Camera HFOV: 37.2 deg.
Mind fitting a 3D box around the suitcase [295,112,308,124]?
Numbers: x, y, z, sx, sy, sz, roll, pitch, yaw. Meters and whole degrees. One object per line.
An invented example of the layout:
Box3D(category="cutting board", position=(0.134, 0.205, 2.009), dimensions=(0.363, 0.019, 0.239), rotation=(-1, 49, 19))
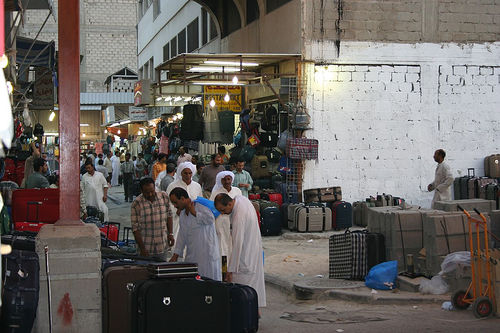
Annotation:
Box3D(category="suitcase", position=(1.604, -1.541, 23.535), dimensions=(0.457, 0.525, 0.286), rotation=(-1, 8, -3))

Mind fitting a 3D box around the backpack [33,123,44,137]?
Box3D(category="backpack", position=(-8.417, -1.442, 29.618), dimensions=(0.348, 0.791, 0.551), rotation=(1, 3, 3))

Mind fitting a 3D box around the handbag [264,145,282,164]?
Box3D(category="handbag", position=(0.801, -0.454, 25.473), dimensions=(0.535, 0.609, 0.414), rotation=(2, -1, 1))

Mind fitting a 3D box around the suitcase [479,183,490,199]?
Box3D(category="suitcase", position=(7.448, 0.765, 23.658), dimensions=(0.312, 0.484, 0.274), rotation=(0, -2, 16))

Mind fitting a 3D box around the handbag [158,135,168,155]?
Box3D(category="handbag", position=(-3.395, -0.862, 29.352), dimensions=(0.256, 0.712, 1.086), rotation=(1, -2, -15))

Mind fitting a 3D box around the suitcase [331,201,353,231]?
Box3D(category="suitcase", position=(2.810, 1.536, 22.785), dimensions=(0.680, 1.198, 0.422), rotation=(-1, 6, -11))

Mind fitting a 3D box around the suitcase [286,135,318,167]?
Box3D(category="suitcase", position=(1.665, -0.588, 23.710), dimensions=(1.011, 0.637, 0.375), rotation=(0, -2, 0))

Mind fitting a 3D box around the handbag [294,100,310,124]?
Box3D(category="handbag", position=(1.709, -1.717, 23.559), dimensions=(0.516, 1.141, 0.568), rotation=(-1, 4, -4))

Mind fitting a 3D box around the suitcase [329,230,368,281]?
Box3D(category="suitcase", position=(2.429, 2.082, 17.664), dimensions=(0.584, 1.110, 0.999), rotation=(-1, -4, -30))

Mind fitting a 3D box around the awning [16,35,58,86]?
Box3D(category="awning", position=(-6.649, -3.370, 23.299), dimensions=(1.165, 1.001, 1.252), rotation=(-1, 7, -13))

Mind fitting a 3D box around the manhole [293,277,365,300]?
Box3D(category="manhole", position=(1.744, 2.790, 16.959), dimensions=(1.497, 0.404, 0.970), rotation=(0, -2, -1))

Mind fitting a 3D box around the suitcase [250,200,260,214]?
Box3D(category="suitcase", position=(0.153, 1.189, 22.577), dimensions=(0.258, 0.290, 0.279), rotation=(3, -3, -23))

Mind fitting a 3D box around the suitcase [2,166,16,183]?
Box3D(category="suitcase", position=(-8.232, 0.228, 25.609), dimensions=(0.354, 0.570, 1.822), rotation=(1, -2, -17))

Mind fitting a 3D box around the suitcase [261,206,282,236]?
Box3D(category="suitcase", position=(0.643, 1.639, 22.355), dimensions=(0.601, 0.872, 0.269), rotation=(0, -2, -4))

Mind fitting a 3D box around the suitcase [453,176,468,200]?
Box3D(category="suitcase", position=(6.932, 0.712, 24.397), dimensions=(0.477, 1.058, 0.560), rotation=(-3, 6, -5))

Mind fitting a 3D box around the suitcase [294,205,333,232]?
Box3D(category="suitcase", position=(1.760, 1.602, 22.825), dimensions=(0.406, 1.079, 1.213), rotation=(-1, -4, 21))

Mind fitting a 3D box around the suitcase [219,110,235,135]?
Box3D(category="suitcase", position=(-0.803, -1.540, 26.076), dimensions=(0.678, 1.333, 0.661), rotation=(0, 6, -3))

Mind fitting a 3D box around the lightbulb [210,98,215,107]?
Box3D(category="lightbulb", position=(-1.257, -2.154, 25.240), dimensions=(0.060, 0.214, 0.153), rotation=(1, 15, 19))

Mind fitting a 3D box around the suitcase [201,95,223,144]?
Box3D(category="suitcase", position=(-1.263, -1.546, 25.580), dimensions=(0.624, 1.374, 0.626), rotation=(1, -2, -15))

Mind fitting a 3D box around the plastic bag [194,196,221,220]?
Box3D(category="plastic bag", position=(-0.849, 0.827, 14.759), dimensions=(0.447, 0.140, 0.365), rotation=(31, 11, -34))

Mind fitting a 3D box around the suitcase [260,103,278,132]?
Box3D(category="suitcase", position=(0.759, -1.578, 25.045), dimensions=(0.607, 1.287, 0.973), rotation=(2, 1, -10))

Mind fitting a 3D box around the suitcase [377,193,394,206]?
Box3D(category="suitcase", position=(4.292, 1.058, 23.542), dimensions=(0.470, 0.514, 0.272), rotation=(0, -4, -23))

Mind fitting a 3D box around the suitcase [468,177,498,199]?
Box3D(category="suitcase", position=(7.451, 0.583, 23.793), dimensions=(0.950, 1.018, 0.563), rotation=(-1, 6, -4))

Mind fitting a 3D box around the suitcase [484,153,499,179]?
Box3D(category="suitcase", position=(8.001, -0.011, 24.655), dimensions=(0.463, 0.770, 0.328), rotation=(-1, -2, 23))

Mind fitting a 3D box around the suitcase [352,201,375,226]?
Box3D(category="suitcase", position=(3.565, 1.481, 23.505), dimensions=(0.656, 0.772, 0.796), rotation=(0, -2, 8))

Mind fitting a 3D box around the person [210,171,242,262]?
Box3D(category="person", position=(-0.448, 1.080, 16.278), dimensions=(0.656, 2.078, 0.653), rotation=(-7, 16, -13))

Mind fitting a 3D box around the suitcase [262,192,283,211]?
Box3D(category="suitcase", position=(0.714, 1.051, 23.921), dimensions=(0.591, 0.659, 0.372), rotation=(0, 9, -4))

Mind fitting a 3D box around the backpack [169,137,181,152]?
Box3D(category="backpack", position=(-2.720, -0.822, 27.417), dimensions=(0.208, 0.369, 0.447), rotation=(10, 35, 5))

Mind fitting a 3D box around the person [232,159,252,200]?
Box3D(category="person", position=(-0.237, 0.671, 21.032), dimensions=(0.568, 1.681, 0.485), rotation=(-4, 15, -7))

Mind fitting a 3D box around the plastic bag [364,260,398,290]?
Box3D(category="plastic bag", position=(2.978, 2.446, 16.882), dimensions=(0.876, 0.599, 0.702), rotation=(-1, -4, 20))

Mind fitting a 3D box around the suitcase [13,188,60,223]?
Box3D(category="suitcase", position=(-4.893, 0.802, 16.988), dimensions=(1.087, 0.844, 0.689), rotation=(-1, -22, -19))

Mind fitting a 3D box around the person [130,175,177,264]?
Box3D(category="person", position=(-2.011, 1.557, 15.753), dimensions=(0.860, 2.832, 0.772), rotation=(-6, 20, -14))
